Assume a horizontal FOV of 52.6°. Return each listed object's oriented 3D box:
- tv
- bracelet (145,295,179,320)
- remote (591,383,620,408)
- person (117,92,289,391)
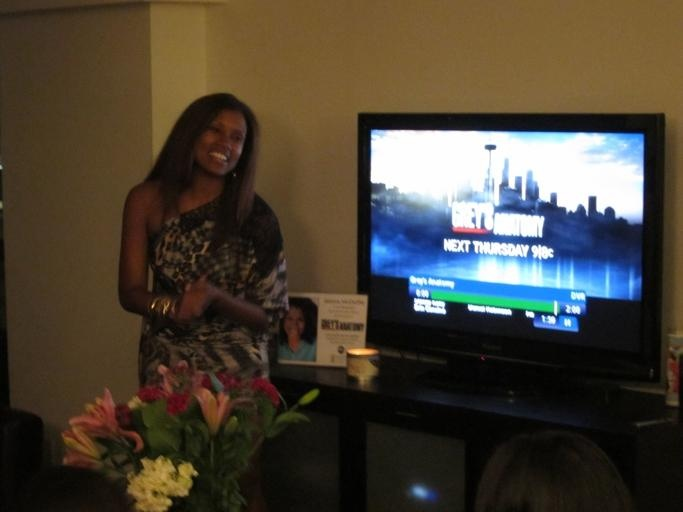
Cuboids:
[{"bbox_3d":[0.667,-0.004,2.533,0.953,0.854,0.208,5,5,32],"label":"tv"},{"bbox_3d":[-0.547,0.157,2.123,0.074,0.059,0.075,0,-3,-17],"label":"bracelet"},{"bbox_3d":[0.944,0.489,2.440,0.063,0.049,0.066,0,4,-3],"label":"remote"},{"bbox_3d":[-0.488,-0.050,2.366,0.418,1.011,0.537,4,6,28],"label":"person"}]
